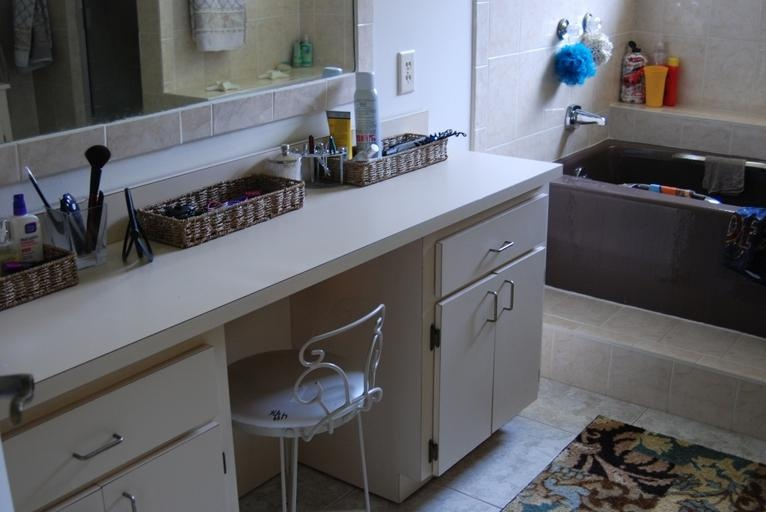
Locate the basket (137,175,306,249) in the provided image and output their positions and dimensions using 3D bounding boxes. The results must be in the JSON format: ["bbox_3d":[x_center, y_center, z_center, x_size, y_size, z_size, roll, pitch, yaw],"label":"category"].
[{"bbox_3d":[-0.468,-0.204,1.771,0.219,0.086,0.424,12,27,35],"label":"basket"}]

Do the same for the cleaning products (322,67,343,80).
[{"bbox_3d":[-0.183,-0.669,2.171,0.059,0.014,0.054,-16,39,-24],"label":"cleaning products"}]

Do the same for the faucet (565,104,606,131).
[{"bbox_3d":[1.130,-0.786,3.369,0.196,0.126,0.156,12,29,27],"label":"faucet"}]

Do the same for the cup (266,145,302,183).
[{"bbox_3d":[-0.323,-0.303,2.048,0.130,0.126,0.119,1,24,-1],"label":"cup"}]

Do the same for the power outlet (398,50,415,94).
[{"bbox_3d":[0.090,-0.741,2.384,0.019,0.168,0.130,13,26,29],"label":"power outlet"}]

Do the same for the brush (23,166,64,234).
[{"bbox_3d":[-0.888,-0.146,1.564,0.025,0.181,0.052,-14,22,0],"label":"brush"}]

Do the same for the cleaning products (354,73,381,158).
[{"bbox_3d":[-0.057,-0.513,2.124,0.086,0.255,0.128,-1,23,-2],"label":"cleaning products"}]

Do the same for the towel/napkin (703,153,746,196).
[{"bbox_3d":[1.907,-0.453,3.354,0.200,0.209,0.063,6,2,28],"label":"towel/napkin"}]

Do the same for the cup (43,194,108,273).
[{"bbox_3d":[-0.794,-0.087,1.596,0.108,0.154,0.092,-11,-4,-10],"label":"cup"}]
